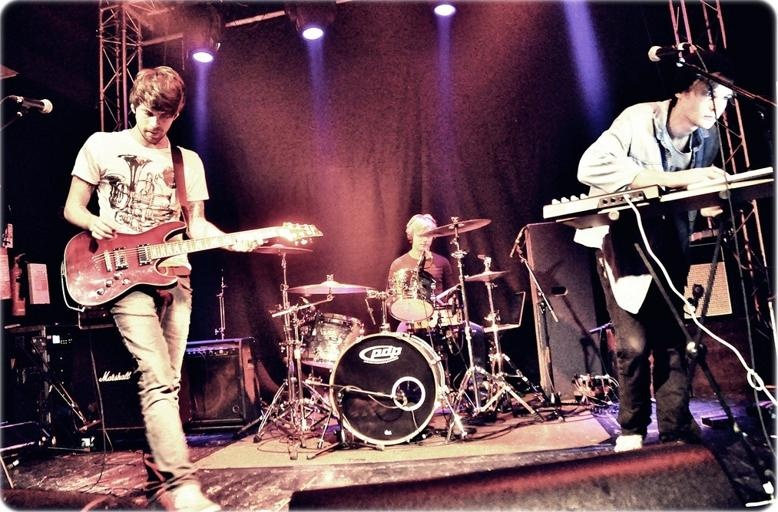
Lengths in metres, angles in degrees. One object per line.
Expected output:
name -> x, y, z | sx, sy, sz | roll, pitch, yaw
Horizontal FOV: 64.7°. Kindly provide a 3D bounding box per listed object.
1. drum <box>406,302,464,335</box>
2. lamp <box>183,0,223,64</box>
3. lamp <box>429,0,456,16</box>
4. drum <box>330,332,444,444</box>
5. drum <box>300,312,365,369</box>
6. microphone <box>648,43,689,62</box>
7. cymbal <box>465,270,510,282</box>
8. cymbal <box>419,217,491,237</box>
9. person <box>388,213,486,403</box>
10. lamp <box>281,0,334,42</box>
drum -> 0.505, 0.666, 6.440 | 0.444, 0.161, 0.337 | -11, -11, -14
lamp -> -2.320, -2.854, 7.792 | 0.462, 0.723, 0.254 | -7, 2, 1
lamp -> 0.694, -3.076, 7.697 | 0.266, 0.124, 0.253 | -6, 1, 11
drum -> -0.021, 1.265, 5.787 | 0.803, 0.779, 0.484 | -33, -12, 6
drum -> -0.634, 0.863, 6.470 | 0.650, 0.466, 0.565 | 13, -20, -6
microphone -> 2.085, -1.489, 4.587 | 0.195, 0.105, 0.203 | -21, 3, -27
cymbal -> 0.985, 0.219, 6.397 | 0.260, 0.058, 0.257 | -13, -7, 14
cymbal -> 0.705, -0.309, 6.512 | 0.586, 0.162, 0.648 | -7, 1, -27
person -> 0.496, 0.324, 7.351 | 1.196, 1.567, 1.269 | -11, 18, -30
lamp -> -0.964, -2.954, 7.667 | 0.573, 0.415, 0.315 | -6, 2, 18
